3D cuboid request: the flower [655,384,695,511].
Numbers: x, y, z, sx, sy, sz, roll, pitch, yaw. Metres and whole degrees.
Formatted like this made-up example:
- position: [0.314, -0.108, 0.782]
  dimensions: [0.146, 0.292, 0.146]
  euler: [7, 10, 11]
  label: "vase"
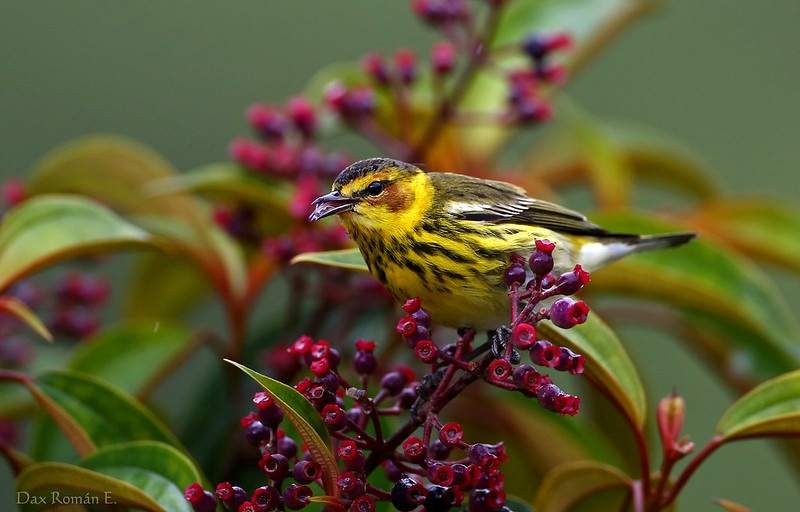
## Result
- position: [0.857, 0.609, 2.804]
  dimensions: [0.109, 0.394, 0.148]
  euler: [3, -21, 9]
  label: "flower"
